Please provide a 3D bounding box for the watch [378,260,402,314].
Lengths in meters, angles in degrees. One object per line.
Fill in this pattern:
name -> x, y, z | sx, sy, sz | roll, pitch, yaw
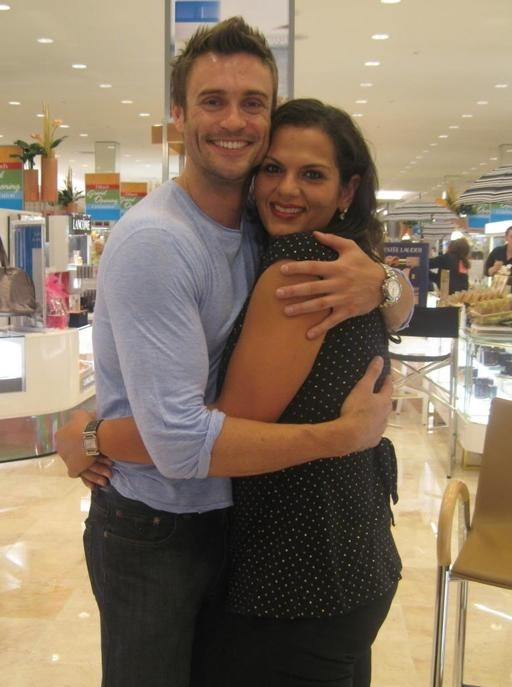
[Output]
watch -> 0.255, -0.106, 1.136 | 0.041, 0.066, 0.064 | 0, 9, -3

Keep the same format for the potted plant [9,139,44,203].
potted plant -> -2.792, -2.111, 7.322 | 0.561, 0.644, 0.402 | -5, -6, 0

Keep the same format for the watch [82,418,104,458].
watch -> -0.296, 0.175, 1.072 | 0.041, 0.061, 0.061 | -5, -1, 6

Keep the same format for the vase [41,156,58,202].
vase -> -2.289, -1.850, 6.596 | 0.177, 0.510, 0.164 | 6, 18, -15
